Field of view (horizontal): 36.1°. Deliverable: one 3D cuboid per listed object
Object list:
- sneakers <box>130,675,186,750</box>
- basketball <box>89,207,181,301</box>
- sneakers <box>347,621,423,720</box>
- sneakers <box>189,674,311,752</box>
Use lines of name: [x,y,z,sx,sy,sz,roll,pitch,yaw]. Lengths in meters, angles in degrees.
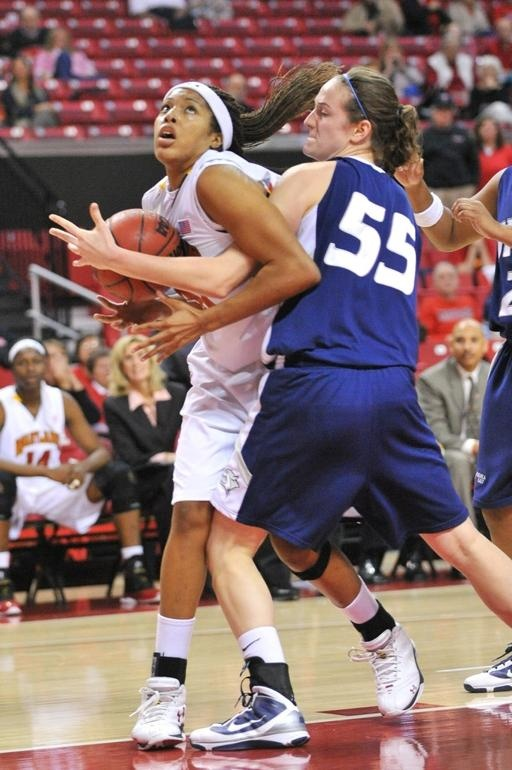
sneakers: [-0.187,0.650,1.547,0.070,0.074,0.171,-4,-10,2]
basketball: [-0.220,-0.248,1.618,0.184,0.202,0.177,-22,6,-2]
sneakers: [0.296,0.638,1.817,0.095,0.105,0.253,-33,8,11]
sneakers: [-0.051,0.652,1.559,0.296,0.170,0.100,-3,-19,15]
